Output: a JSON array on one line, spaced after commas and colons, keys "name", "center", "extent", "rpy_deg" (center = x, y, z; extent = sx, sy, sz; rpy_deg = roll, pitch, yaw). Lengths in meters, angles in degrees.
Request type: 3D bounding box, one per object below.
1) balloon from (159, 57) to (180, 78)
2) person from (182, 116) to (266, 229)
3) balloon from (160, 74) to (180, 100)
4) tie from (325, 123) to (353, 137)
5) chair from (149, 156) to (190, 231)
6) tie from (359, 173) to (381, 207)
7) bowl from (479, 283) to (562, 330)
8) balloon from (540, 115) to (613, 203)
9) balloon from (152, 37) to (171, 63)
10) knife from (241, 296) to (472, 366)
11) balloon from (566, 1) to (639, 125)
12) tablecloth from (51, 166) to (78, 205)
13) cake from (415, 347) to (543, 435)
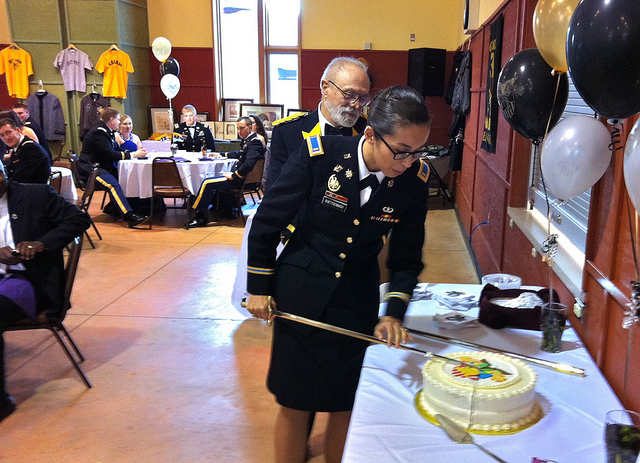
[{"name": "balloon", "center": [-2.916, -3.243, 9.270], "extent": [0.400, 0.404, 0.352], "rpy_deg": [-8, 29, -19]}, {"name": "person", "center": [-1.280, -0.836, 6.752], "extent": [0.951, 1.617, 0.717], "rpy_deg": [5, 0, -16]}, {"name": "balloon", "center": [-2.854, -2.781, 9.002], "extent": [0.293, 0.439, 0.277], "rpy_deg": [-1, 13, 3]}, {"name": "tie", "center": [0.098, -0.522, 2.459], "extent": [0.172, 0.067, 0.130], "rpy_deg": [1, 9, 12]}, {"name": "chair", "center": [-2.147, -0.559, 6.660], "extent": [0.574, 0.981, 0.880], "rpy_deg": [-6, 13, -17]}, {"name": "tie", "center": [0.169, -0.140, 1.626], "extent": [0.064, 0.113, 0.027], "rpy_deg": [33, 3, 12]}, {"name": "bowl", "center": [0.804, 0.307, 1.991], "extent": [0.226, 0.096, 0.265], "rpy_deg": [1, 4, 8]}, {"name": "balloon", "center": [0.868, -0.267, 1.654], "extent": [0.135, 0.315, 0.202], "rpy_deg": [3, 16, 6]}, {"name": "balloon", "center": [-3.072, -3.543, 9.161], "extent": [0.327, 0.467, 0.267], "rpy_deg": [-1, 13, 2]}, {"name": "knife", "center": [0.177, 0.359, 1.725], "extent": [0.800, 0.188, 0.148], "rpy_deg": [15, 22, 8]}, {"name": "balloon", "center": [0.772, -0.468, 1.278], "extent": [0.188, 0.314, 0.119], "rpy_deg": [5, 14, 27]}, {"name": "tablecloth", "center": [-3.083, -0.553, 5.728], "extent": [0.175, 0.416, 0.473], "rpy_deg": [-9, 14, -28]}, {"name": "cake", "center": [0.496, 0.480, 1.481], "extent": [0.385, 0.118, 0.374], "rpy_deg": [-8, 7, -39]}]
